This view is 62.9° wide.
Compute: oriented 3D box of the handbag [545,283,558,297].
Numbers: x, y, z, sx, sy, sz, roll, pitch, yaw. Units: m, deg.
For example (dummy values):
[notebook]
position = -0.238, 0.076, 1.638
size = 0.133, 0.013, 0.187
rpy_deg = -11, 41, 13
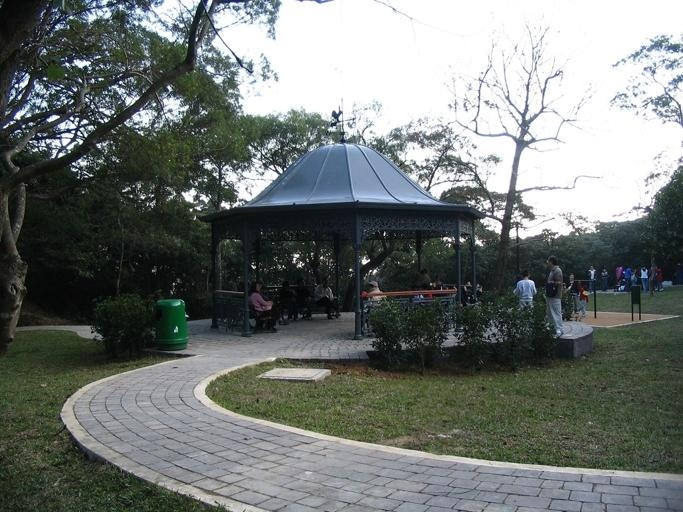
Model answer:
[handbag]
position = 5.184, 0.856, 13.848
size = 0.255, 0.326, 0.279
rpy_deg = 1, -6, 5

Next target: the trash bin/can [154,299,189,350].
[trash bin/can]
position = -3.873, 1.574, 12.775
size = 0.703, 1.170, 0.412
rpy_deg = 2, -6, -21

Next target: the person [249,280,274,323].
[person]
position = -2.250, 1.312, 15.756
size = 0.701, 1.135, 0.772
rpy_deg = 1, -6, -14

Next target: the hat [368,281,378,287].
[hat]
position = 0.950, 0.846, 16.941
size = 0.381, 0.154, 0.416
rpy_deg = 3, -1, 7
